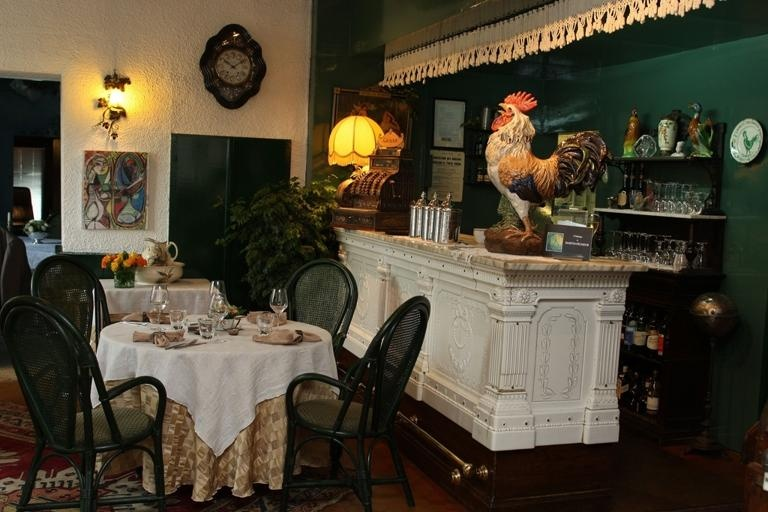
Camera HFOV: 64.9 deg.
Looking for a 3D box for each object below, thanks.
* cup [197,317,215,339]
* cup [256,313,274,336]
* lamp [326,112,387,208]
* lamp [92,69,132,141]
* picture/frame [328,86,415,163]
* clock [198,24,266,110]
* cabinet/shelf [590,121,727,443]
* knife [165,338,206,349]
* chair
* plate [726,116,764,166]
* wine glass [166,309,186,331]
[{"bbox_3d":[-1.206,0.500,4.150,0.125,0.140,0.126,-1,-5,0],"label":"cup"},{"bbox_3d":[-0.897,0.491,4.386,0.141,0.155,0.135,1,-5,0],"label":"cup"},{"bbox_3d":[-0.309,-1.134,7.067,0.867,1.398,0.868,2,6,6],"label":"lamp"},{"bbox_3d":[-3.161,-1.739,7.002,0.388,0.810,0.128,0,7,-26],"label":"lamp"},{"bbox_3d":[-0.209,-1.547,7.042,1.197,1.280,0.083,-1,8,-15],"label":"picture/frame"},{"bbox_3d":[-1.828,-2.304,7.317,0.752,1.013,0.085,-3,36,-23],"label":"clock"},{"bbox_3d":[2.774,0.157,6.021,0.722,3.107,1.338,1,7,-21],"label":"cabinet/shelf"},{"bbox_3d":[-1.343,0.568,4.092,0.073,0.014,0.247,10,9,35],"label":"knife"},{"bbox_3d":[-0.878,0.977,4.069,2.272,1.557,1.009,3,6,-3],"label":"chair"},{"bbox_3d":[3.336,-1.061,5.598,0.087,0.410,0.344,1,6,-15],"label":"plate"},{"bbox_3d":[-1.486,0.438,4.248,0.138,0.157,0.138,2,7,0],"label":"wine glass"}]
